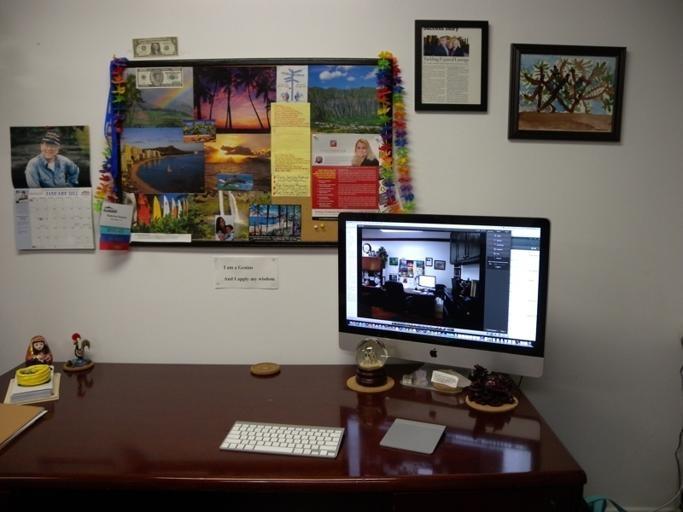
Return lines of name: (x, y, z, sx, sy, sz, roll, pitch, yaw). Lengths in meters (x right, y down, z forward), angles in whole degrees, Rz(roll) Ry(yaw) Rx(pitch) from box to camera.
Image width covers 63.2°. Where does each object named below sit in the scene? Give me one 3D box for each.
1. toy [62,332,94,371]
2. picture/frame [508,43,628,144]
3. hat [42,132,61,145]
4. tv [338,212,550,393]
toy: (-1.119, 0.408, 2.374, 0.146, 0.163, 0.146, 0, -4, 1)
picture/frame: (0.943, -0.697, 2.316, 0.399, 0.334, 0.028, 0, 6, -1)
hat: (-1.246, -0.504, 2.379, 0.049, 0.030, 0.070, 3, 11, -21)
tv: (0.387, 0.165, 2.119, 0.694, 0.495, 0.142, 2, 4, 16)
